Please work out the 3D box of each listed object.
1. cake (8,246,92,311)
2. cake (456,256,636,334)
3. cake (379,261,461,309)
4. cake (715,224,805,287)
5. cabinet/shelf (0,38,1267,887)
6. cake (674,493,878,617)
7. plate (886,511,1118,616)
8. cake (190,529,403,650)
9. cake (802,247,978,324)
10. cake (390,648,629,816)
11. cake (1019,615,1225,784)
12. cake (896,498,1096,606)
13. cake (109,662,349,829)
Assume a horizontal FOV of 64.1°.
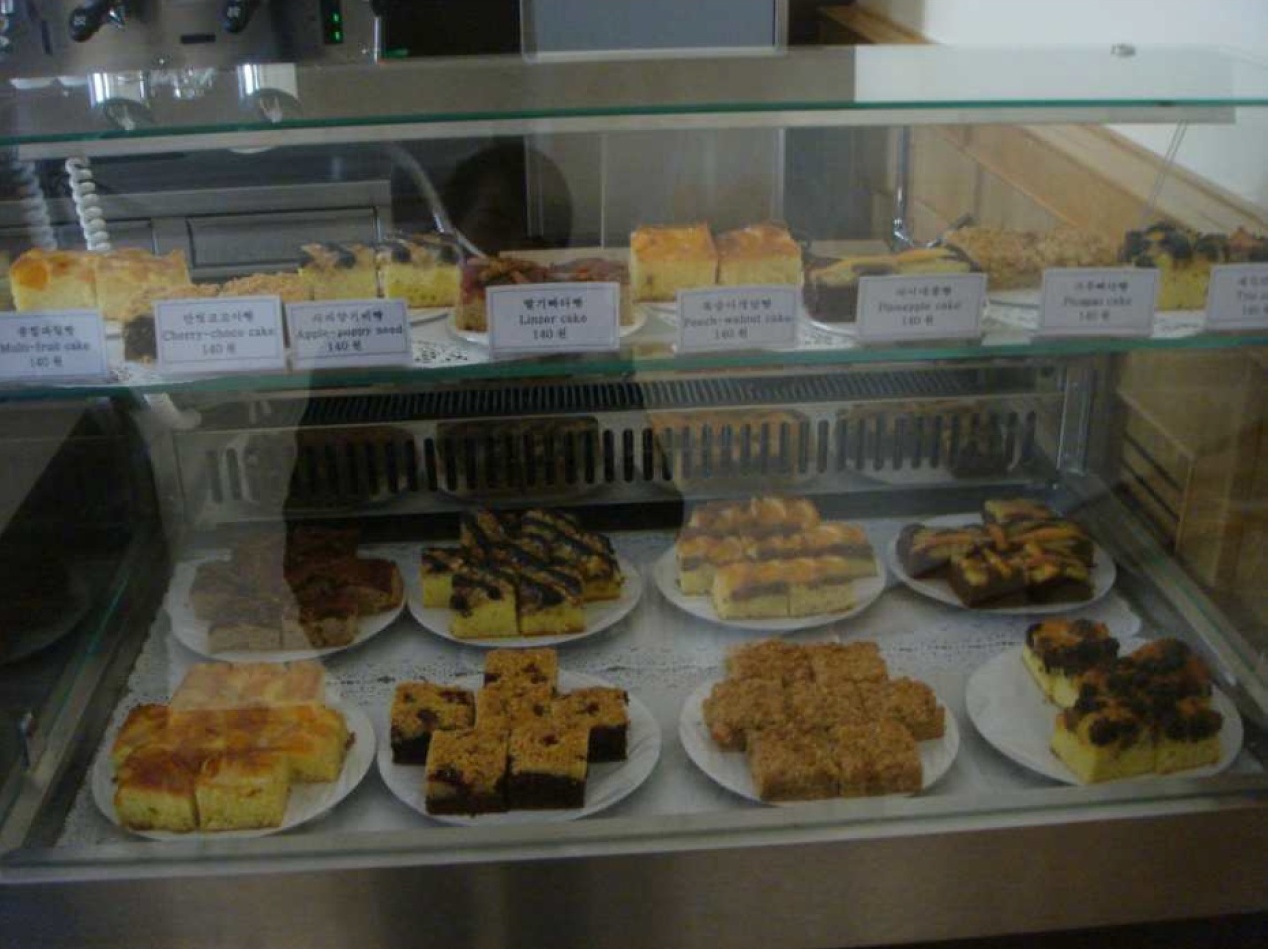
[{"bbox_3d":[-0.843,-0.283,1.469,0.121,0.075,0.061,0,28,2],"label":"cake"},{"bbox_3d":[-0.153,-0.292,1.489,0.242,0.104,0.121,-3,19,-5],"label":"cake"},{"bbox_3d":[-0.319,-0.283,1.504,0.120,0.073,0.063,1,31,-5],"label":"cake"},{"bbox_3d":[0.188,-0.323,1.511,0.099,0.034,0.097,-31,45,-32],"label":"cake"},{"bbox_3d":[-0.004,-0.038,1.557,2.027,1.081,0.597,-2,28,-1],"label":"cabinet/shelf"},{"bbox_3d":[0.253,0.140,1.767,0.284,0.087,0.206,2,33,5],"label":"cake"},{"bbox_3d":[0.658,0.157,1.787,0.245,0.071,0.239,0,29,4],"label":"plate"},{"bbox_3d":[-0.575,0.189,1.699,0.282,0.048,0.202,6,45,-4],"label":"cake"},{"bbox_3d":[0.379,-0.286,1.525,0.262,0.094,0.063,-7,29,-10],"label":"cake"},{"bbox_3d":[-0.199,0.417,1.626,0.302,0.076,0.222,1,38,-4],"label":"cake"},{"bbox_3d":[0.787,0.370,1.647,0.244,0.084,0.235,-5,42,6],"label":"cake"},{"bbox_3d":[0.641,0.147,1.788,0.265,0.076,0.199,-3,32,2],"label":"cake"},{"bbox_3d":[-0.636,0.425,1.602,0.269,0.063,0.254,-15,34,-25],"label":"cake"}]
